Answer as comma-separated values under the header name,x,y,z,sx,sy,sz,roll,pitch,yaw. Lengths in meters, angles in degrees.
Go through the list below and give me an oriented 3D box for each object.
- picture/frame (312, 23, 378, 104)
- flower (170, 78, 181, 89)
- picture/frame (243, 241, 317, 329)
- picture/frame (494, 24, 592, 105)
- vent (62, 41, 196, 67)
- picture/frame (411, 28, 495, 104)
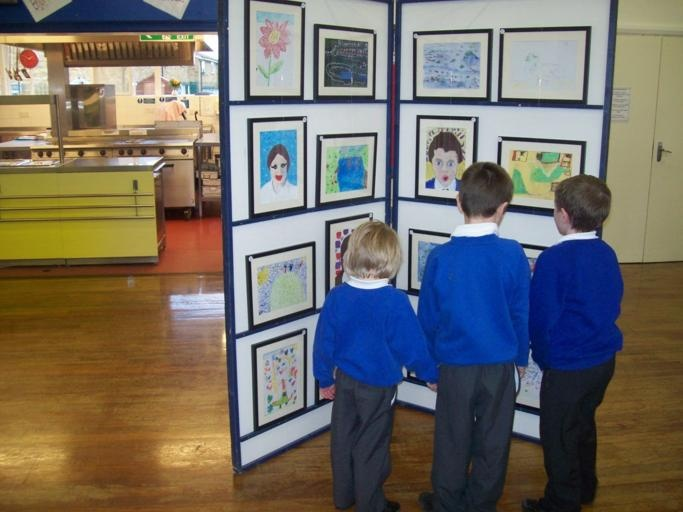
name,x,y,z,sx,sy,sz,roll,pitch,yaw
picture/frame,0.027,-1.141,3.387,0.457,0.403,0.021,-11,18,-37
flower,-3.012,-3.145,10.458,0.212,0.222,0.214,-6,8,-23
picture/frame,-0.379,0.156,3.364,0.024,0.454,0.477,10,14,42
picture/frame,1.168,-1.103,3.247,0.456,0.393,0.022,6,11,23
vent,-3.459,-3.319,9.390,2.074,0.367,0.315,-1,14,-3
picture/frame,0.692,-1.162,3.443,0.455,0.394,0.039,4,10,21
